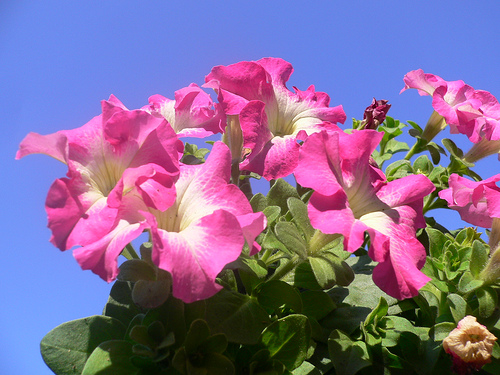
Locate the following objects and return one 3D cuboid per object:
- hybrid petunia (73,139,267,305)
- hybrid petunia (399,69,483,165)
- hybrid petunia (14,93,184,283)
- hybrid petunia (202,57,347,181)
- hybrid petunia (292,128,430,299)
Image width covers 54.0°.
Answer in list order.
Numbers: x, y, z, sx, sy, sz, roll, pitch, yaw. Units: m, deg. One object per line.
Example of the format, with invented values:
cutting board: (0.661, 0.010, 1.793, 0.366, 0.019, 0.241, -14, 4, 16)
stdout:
hybrid petunia: (-0.166, 0.092, 1.219, 0.380, 0.418, 0.192, 4, -48, 9)
hybrid petunia: (0.768, -0.285, 1.932, 0.272, 0.297, 0.197, -14, -80, 20)
hybrid petunia: (-0.372, -0.072, 1.282, 0.522, 0.475, 0.211, 8, -71, 26)
hybrid petunia: (0.085, -0.280, 1.646, 0.475, 0.442, 0.219, 19, -81, 32)
hybrid petunia: (0.314, 0.058, 1.307, 0.456, 0.433, 0.136, 23, -35, -22)
